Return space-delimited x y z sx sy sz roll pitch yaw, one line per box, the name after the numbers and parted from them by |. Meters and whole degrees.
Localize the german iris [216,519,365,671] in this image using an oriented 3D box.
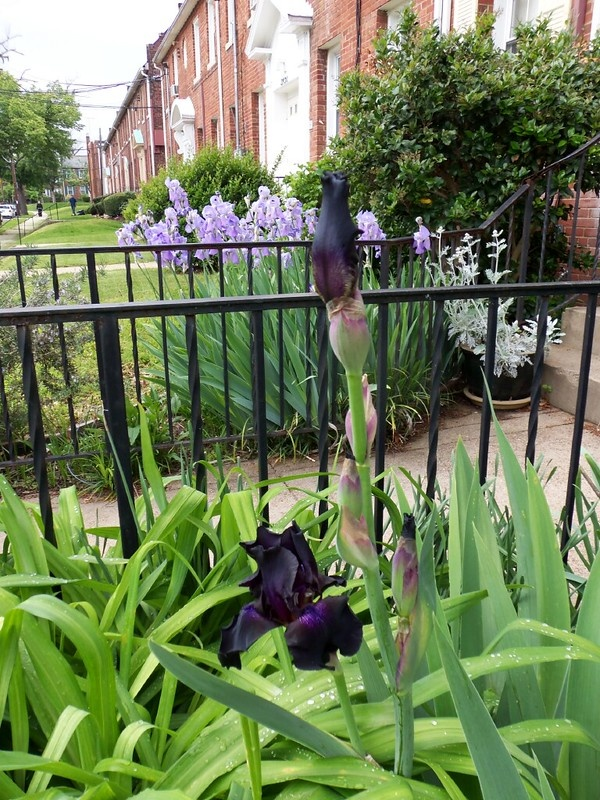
0.004 0.206 0.649 0.137 0.134 0.145 -8 1 0 | german iris
